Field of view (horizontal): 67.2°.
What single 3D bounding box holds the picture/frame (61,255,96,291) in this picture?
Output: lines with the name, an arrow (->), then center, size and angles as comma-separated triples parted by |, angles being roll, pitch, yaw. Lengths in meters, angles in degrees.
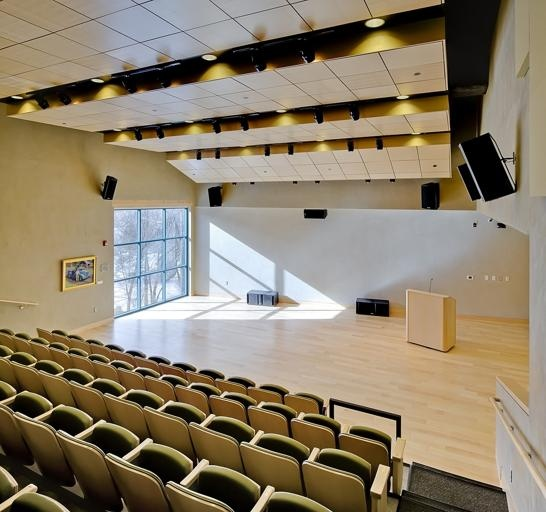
picture/frame -> -4.617, 0.393, 9.795 | 0.038, 0.719, 0.968 | 7, 7, 22

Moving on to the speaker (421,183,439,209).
speaker -> 4.047, -1.567, 10.501 | 0.459, 0.777, 0.596 | -2, -30, 21

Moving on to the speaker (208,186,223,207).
speaker -> -1.860, -1.953, 13.400 | 0.576, 0.816, 0.420 | 2, 8, 16

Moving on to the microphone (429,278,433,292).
microphone -> 4.451, 0.817, 11.500 | 0.119, 0.341, 0.155 | -2, -29, 22

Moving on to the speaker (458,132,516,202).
speaker -> 1.928, -0.782, 3.705 | 0.404, 0.484, 0.294 | 29, -33, -32
